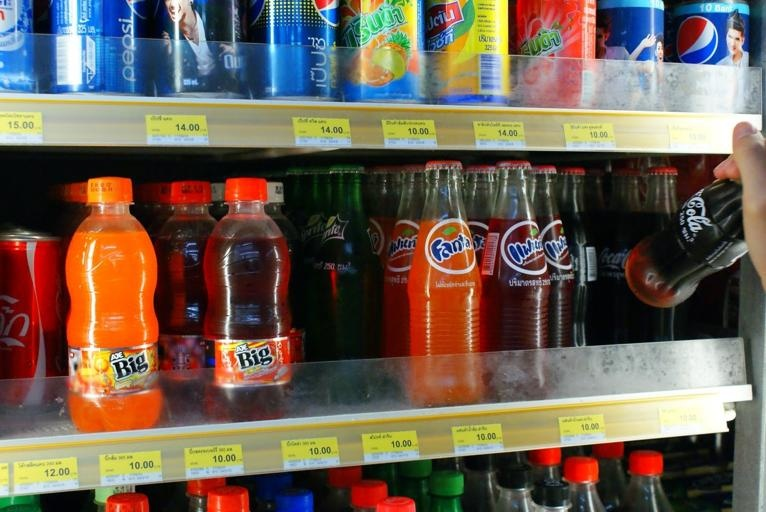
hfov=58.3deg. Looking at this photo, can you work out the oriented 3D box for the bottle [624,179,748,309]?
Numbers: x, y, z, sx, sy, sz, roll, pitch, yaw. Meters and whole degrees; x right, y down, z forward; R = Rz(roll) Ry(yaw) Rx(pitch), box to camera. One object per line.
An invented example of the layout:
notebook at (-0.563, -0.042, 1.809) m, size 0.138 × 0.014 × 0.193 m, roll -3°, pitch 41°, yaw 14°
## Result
bottle at (0.708, -0.018, 1.602) m, size 0.119 × 0.103 × 0.358 m, roll 1°, pitch -21°, yaw -23°
